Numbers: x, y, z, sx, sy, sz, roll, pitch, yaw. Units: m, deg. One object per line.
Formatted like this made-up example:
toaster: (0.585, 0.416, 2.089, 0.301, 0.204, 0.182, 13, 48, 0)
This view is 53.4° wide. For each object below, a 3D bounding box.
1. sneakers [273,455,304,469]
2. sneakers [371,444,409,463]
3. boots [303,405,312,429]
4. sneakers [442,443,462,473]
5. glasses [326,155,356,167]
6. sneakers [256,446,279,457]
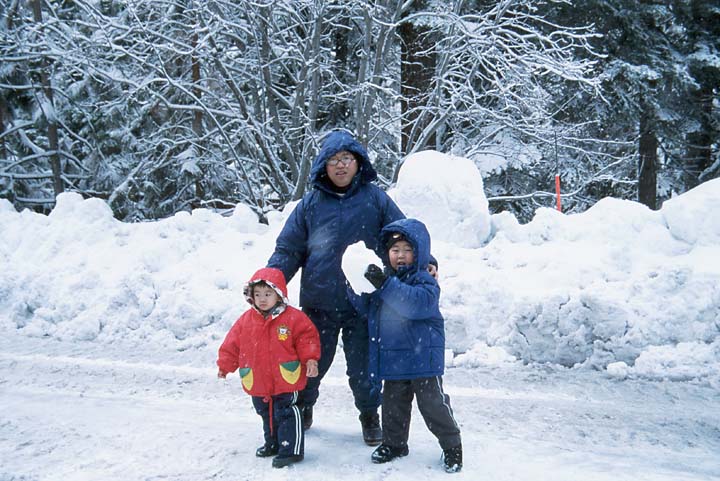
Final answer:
sneakers: (-0.771, 2.339, 7.593, 0.318, 0.141, 0.113, 2, -6, -26)
sneakers: (0.324, 2.293, 7.712, 0.389, 0.161, 0.161, 2, -5, -21)
boots: (-0.599, 2.030, 8.198, 0.179, 0.229, 0.206, -2, -9, -3)
sneakers: (0.988, 2.313, 7.590, 0.208, 0.284, 0.121, 2, 0, 7)
glasses: (-0.220, -0.903, 8.108, 0.319, 0.132, 0.050, 3, 0, -8)
sneakers: (-0.999, 2.281, 7.742, 0.232, 0.106, 0.104, 2, 6, 2)
